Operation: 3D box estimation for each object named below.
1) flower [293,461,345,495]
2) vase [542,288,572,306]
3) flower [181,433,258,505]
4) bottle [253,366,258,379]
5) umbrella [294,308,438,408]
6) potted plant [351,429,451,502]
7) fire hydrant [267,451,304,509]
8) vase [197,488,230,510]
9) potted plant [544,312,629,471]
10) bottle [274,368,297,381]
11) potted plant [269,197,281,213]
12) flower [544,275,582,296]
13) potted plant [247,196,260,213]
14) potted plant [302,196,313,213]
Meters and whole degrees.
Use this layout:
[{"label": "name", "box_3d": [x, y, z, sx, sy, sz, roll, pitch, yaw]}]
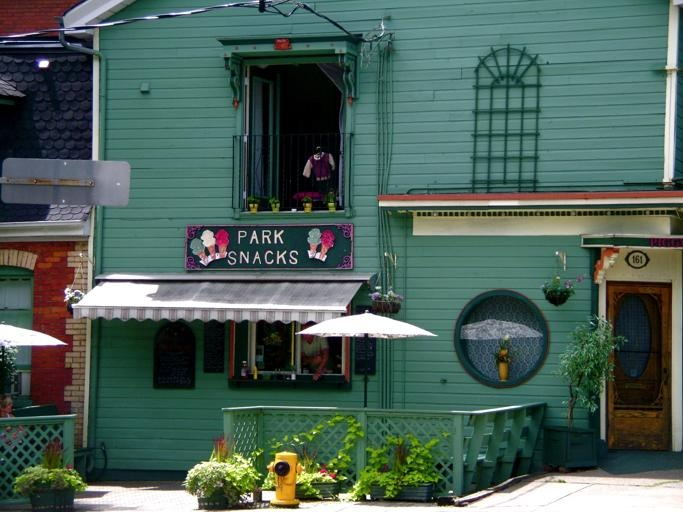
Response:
[{"label": "flower", "box_3d": [-0.459, 4.092, 26.275, 0.782, 0.294, 0.975, 0, -1, 11]}, {"label": "vase", "box_3d": [4.262, 0.749, 28.275, 0.448, 0.244, 0.394, 1, -5, 4]}, {"label": "flower", "box_3d": [-2.268, 3.949, 26.238, 1.340, 1.058, 1.178, 0, -3, -2]}, {"label": "bottle", "box_3d": [-1.806, 2.393, 29.652, 0.085, 0.308, 0.231, 0, -6, -2]}, {"label": "umbrella", "box_3d": [0.526, 1.771, 27.578, 2.529, 1.443, 2.119, 0, -5, 1]}, {"label": "potted plant", "box_3d": [1.100, 3.903, 26.727, 1.655, 1.057, 1.350, -1, -8, 8]}, {"label": "fire hydrant", "box_3d": [-1.033, 4.057, 25.946, 0.537, 0.957, 0.508, 0, -6, -3]}, {"label": "vase", "box_3d": [-2.322, 4.391, 25.728, 0.466, 0.255, 0.414, 1, -8, -9]}, {"label": "potted plant", "box_3d": [4.806, 2.663, 28.069, 1.380, 3.038, 1.131, 4, -7, -34]}, {"label": "bottle", "box_3d": [-1.167, 2.445, 29.525, 0.458, 0.211, 0.282, -1, -5, 2]}, {"label": "potted plant", "box_3d": [-1.410, -1.127, 29.942, 0.355, 0.361, 0.281, -1, -3, -1]}, {"label": "flower", "box_3d": [4.373, 0.550, 28.395, 0.609, 0.279, 0.417, -1, -1, -4]}, {"label": "potted plant", "box_3d": [-1.873, -1.125, 29.941, 0.369, 0.326, 0.292, 0, -5, -3]}, {"label": "potted plant", "box_3d": [-0.723, -1.125, 29.829, 0.313, 0.400, 0.302, 0, -5, 0]}]
